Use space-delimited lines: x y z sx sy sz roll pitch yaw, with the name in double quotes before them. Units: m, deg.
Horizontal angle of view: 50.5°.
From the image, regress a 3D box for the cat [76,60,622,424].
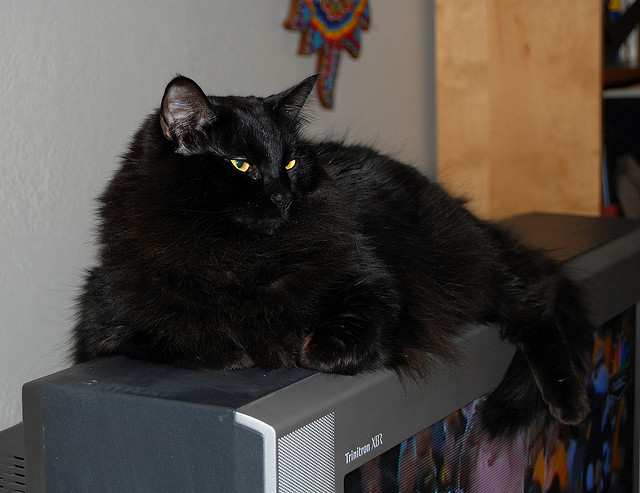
"cat" 0.149 0.020 1.194 0.610 0.484 0.938 -3 -7 43
